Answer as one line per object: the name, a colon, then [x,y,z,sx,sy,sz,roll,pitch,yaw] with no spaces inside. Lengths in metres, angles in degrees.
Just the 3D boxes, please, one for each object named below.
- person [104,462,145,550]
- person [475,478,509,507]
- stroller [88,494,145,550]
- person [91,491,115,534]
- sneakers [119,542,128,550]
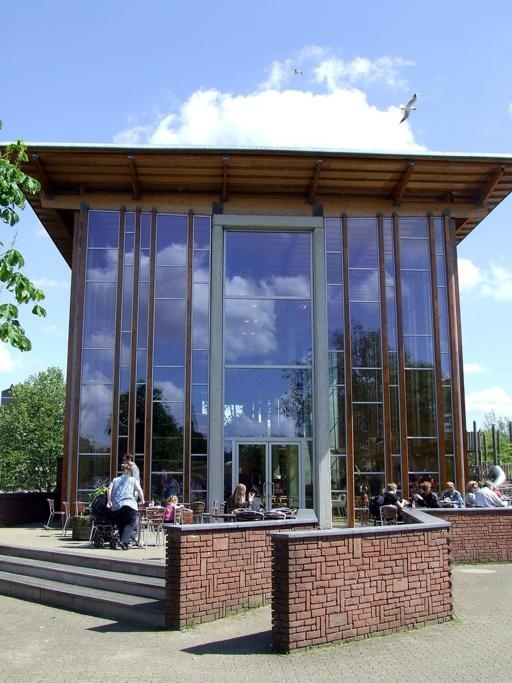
person: [-2.464,3.079,11.377,0.648,1.547,0.920,2,-13,-14]
person: [5.159,3.374,13.382,0.648,0.525,2.197,-6,-13,18]
stroller: [-2.904,3.500,11.868,0.934,1.168,1.070,-3,-6,18]
person: [-2.979,3.343,11.768,0.621,0.699,0.666,-3,-10,12]
sneakers: [-2.374,3.672,10.878,0.131,0.136,0.172,1,-13,-13]
